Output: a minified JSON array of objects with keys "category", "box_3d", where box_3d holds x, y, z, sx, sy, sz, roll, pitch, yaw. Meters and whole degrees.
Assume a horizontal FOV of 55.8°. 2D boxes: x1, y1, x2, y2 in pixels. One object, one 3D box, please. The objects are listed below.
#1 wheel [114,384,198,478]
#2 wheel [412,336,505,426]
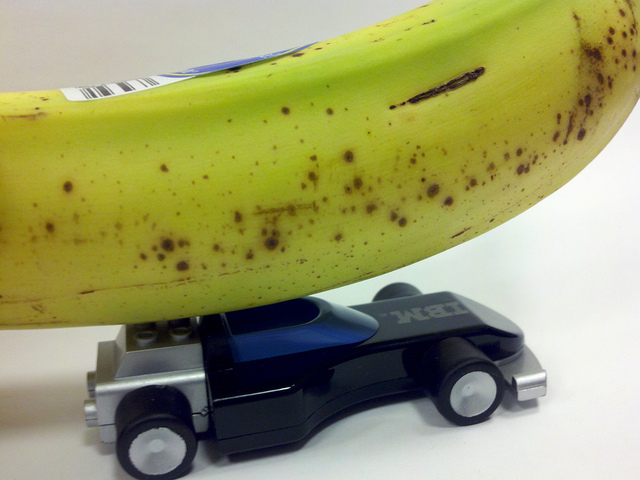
[{"category":"wheel","box_3d":[-0.223,0.255,0.808,0.115,0.125,0.067,-2,10,-6]},{"category":"wheel","box_3d":[0.199,0.202,0.888,0.127,0.131,0.068,-16,-27,10]}]
